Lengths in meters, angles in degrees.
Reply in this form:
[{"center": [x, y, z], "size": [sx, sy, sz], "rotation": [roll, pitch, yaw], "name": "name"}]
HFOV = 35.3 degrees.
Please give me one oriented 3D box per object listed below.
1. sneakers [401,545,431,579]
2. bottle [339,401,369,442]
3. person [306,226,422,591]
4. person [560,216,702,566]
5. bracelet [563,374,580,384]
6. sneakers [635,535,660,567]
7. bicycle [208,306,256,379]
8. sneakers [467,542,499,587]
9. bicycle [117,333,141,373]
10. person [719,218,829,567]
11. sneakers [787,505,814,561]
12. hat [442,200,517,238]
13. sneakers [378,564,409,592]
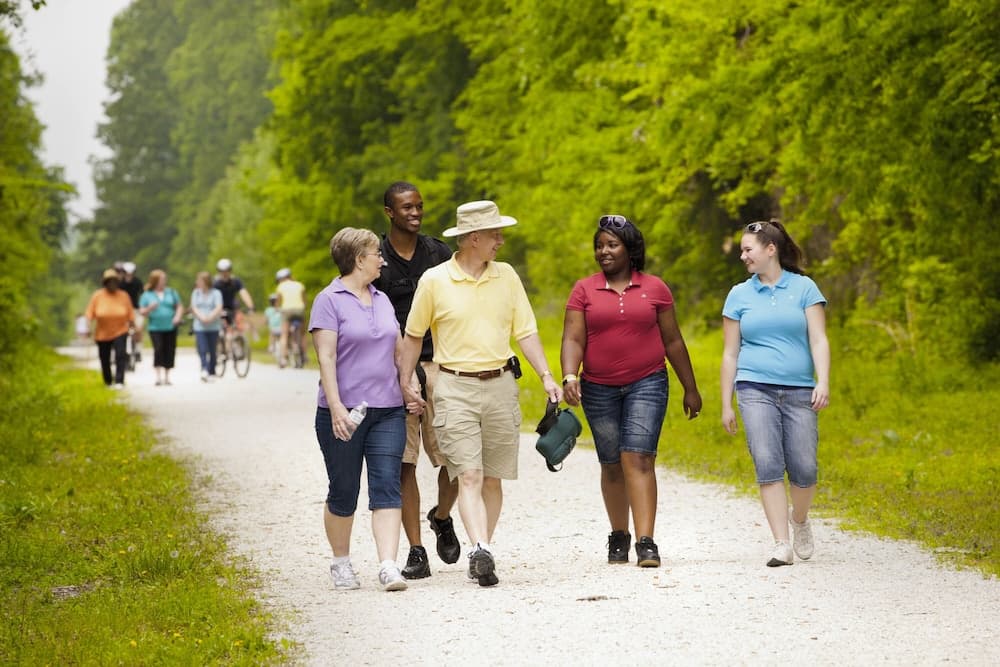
[{"center": [-0.746, 2.042, 14.131], "size": [0.173, 0.217, 0.323], "rotation": [-3, -5, 20], "name": "sneakers"}, {"center": [-1.245, 0.715, 13.604], "size": [0.204, 0.255, 0.068], "rotation": [-6, 12, -24], "name": "bottle"}, {"center": [-1.203, 0.660, 13.670], "size": [0.829, 3.054, 0.675], "rotation": [1, 11, 11], "name": "person"}, {"center": [1.143, 0.501, 14.069], "size": [1.181, 3.044, 0.823], "rotation": [0, 11, 4], "name": "person"}, {"center": [0.625, 0.393, 14.015], "size": [0.105, 0.074, 0.110], "rotation": [11, -3, -7], "name": "bracelet"}, {"center": [1.300, 1.906, 13.927], "size": [0.246, 0.250, 0.192], "rotation": [4, 12, 24], "name": "sneakers"}, {"center": [-5.033, 0.273, 28.449], "size": [0.802, 1.135, 1.789], "rotation": [0, 14, -8], "name": "bicycle"}, {"center": [-0.162, 1.971, 13.571], "size": [0.185, 0.419, 0.194], "rotation": [-4, 22, 3], "name": "sneakers"}, {"center": [-6.129, 0.288, 25.846], "size": [0.231, 0.753, 0.305], "rotation": [-2, -9, 4], "name": "bicycle"}, {"center": [2.468, 0.543, 14.058], "size": [0.965, 3.004, 0.821], "rotation": [4, 12, 26], "name": "person"}, {"center": [2.716, 1.776, 14.152], "size": [0.150, 0.437, 0.168], "rotation": [-9, 6, 7], "name": "sneakers"}, {"center": [-0.191, -1.015, 13.816], "size": [0.459, 0.170, 0.412], "rotation": [-12, 11, 11], "name": "hat"}, {"center": [-0.945, 2.083, 13.646], "size": [0.269, 0.247, 0.220], "rotation": [0, 11, 7], "name": "sneakers"}]
